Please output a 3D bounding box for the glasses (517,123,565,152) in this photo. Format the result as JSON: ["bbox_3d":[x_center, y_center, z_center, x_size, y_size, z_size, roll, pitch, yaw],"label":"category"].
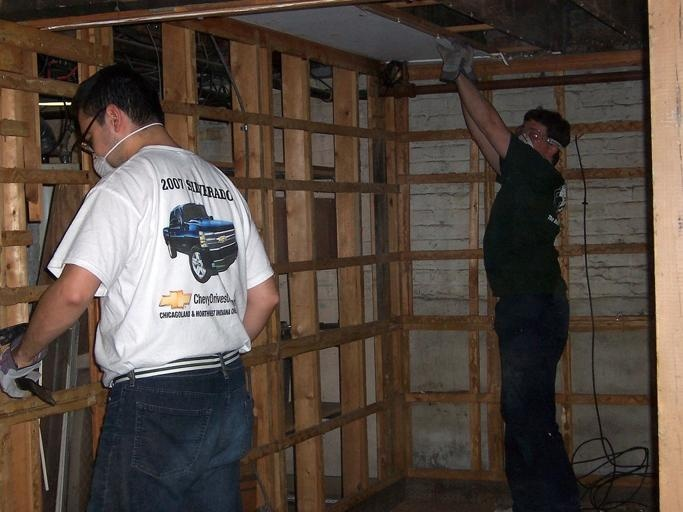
[{"bbox_3d":[1.344,-0.798,5.665,0.255,0.145,0.188,21,8,6],"label":"glasses"}]

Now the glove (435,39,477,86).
[{"bbox_3d":[0.758,-1.326,5.564,0.314,0.320,0.106,5,-26,-20],"label":"glove"}]
